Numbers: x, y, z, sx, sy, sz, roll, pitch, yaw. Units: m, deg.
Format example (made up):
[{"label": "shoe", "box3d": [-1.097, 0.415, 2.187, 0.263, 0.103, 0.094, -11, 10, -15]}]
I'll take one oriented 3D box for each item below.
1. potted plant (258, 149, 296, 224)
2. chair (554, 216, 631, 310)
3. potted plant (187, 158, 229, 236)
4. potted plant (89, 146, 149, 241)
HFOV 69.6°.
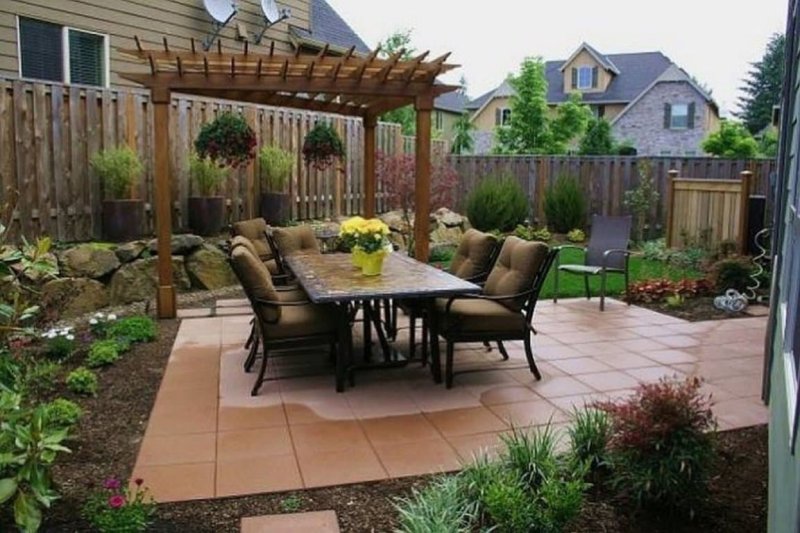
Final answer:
[{"label": "potted plant", "box3d": [-2.250, -1.495, 10.431, 0.612, 1.419, 0.547, -7, 12, -31]}, {"label": "chair", "box3d": [2.891, -0.119, 8.699, 1.069, 1.367, 1.100, 3, 6, 26]}, {"label": "potted plant", "box3d": [-3.221, -1.200, 9.427, 0.764, 1.139, 0.671, 1, 8, 9]}, {"label": "potted plant", "box3d": [-4.182, -1.036, 8.601, 0.805, 1.399, 0.702, 2, -7, -43]}]
